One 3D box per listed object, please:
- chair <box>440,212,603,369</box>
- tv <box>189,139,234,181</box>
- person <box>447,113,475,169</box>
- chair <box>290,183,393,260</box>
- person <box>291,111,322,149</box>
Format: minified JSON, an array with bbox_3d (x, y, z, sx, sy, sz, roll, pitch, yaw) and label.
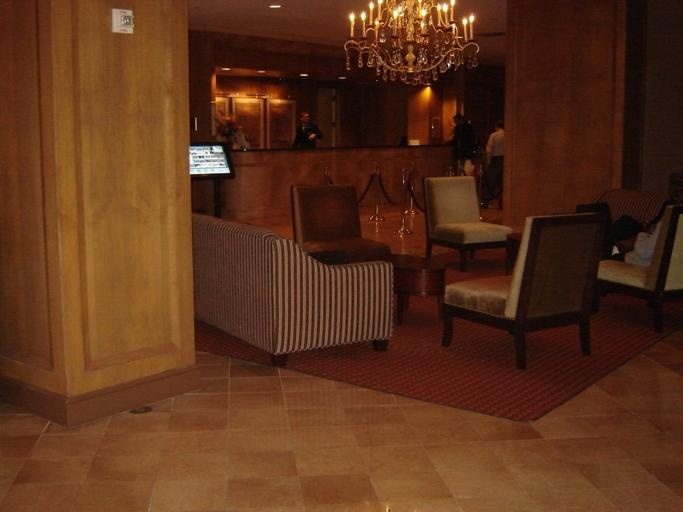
[{"bbox_3d":[1.466,0.147,4.783,1.011,1.434,1.198,-5,10,-34],"label":"chair"},{"bbox_3d":[-1.632,-1.202,7.251,0.527,0.442,0.508,-6,18,-14],"label":"tv"},{"bbox_3d":[2.899,-2.664,13.740,0.581,1.353,0.999,-2,18,-1],"label":"person"},{"bbox_3d":[0.028,-0.371,6.229,0.870,0.926,0.926,-5,8,-31],"label":"chair"},{"bbox_3d":[-0.727,-2.703,12.433,0.505,0.713,0.777,-1,18,2],"label":"person"}]
